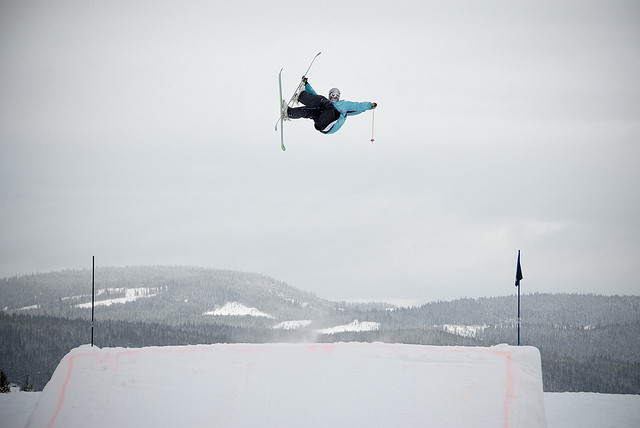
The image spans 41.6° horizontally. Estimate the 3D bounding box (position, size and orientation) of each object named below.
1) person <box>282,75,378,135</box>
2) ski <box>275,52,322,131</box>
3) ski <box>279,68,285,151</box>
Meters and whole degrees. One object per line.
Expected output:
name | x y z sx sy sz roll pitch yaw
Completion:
person | 0.066 -1.791 14.281 1.537 0.801 1.474 -1 -5 15
ski | -0.389 -2.379 16.029 0.149 1.926 0.260 22 -2 -29
ski | -0.679 -1.773 14.743 0.140 1.338 0.135 1 1 12
